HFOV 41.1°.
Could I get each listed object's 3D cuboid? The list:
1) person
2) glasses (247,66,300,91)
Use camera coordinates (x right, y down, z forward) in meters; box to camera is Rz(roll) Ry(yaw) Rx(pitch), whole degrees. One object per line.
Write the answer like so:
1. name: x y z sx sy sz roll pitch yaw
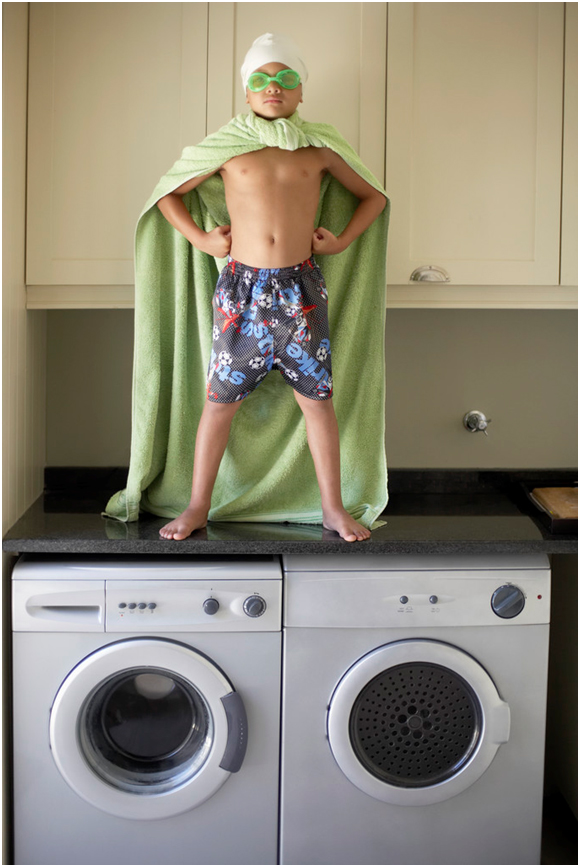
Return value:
1. person: -0.041 -0.191 1.565 0.470 0.767 0.413 1 10 5
2. glasses: -0.034 -0.683 1.485 0.108 0.044 0.066 -1 10 -2
